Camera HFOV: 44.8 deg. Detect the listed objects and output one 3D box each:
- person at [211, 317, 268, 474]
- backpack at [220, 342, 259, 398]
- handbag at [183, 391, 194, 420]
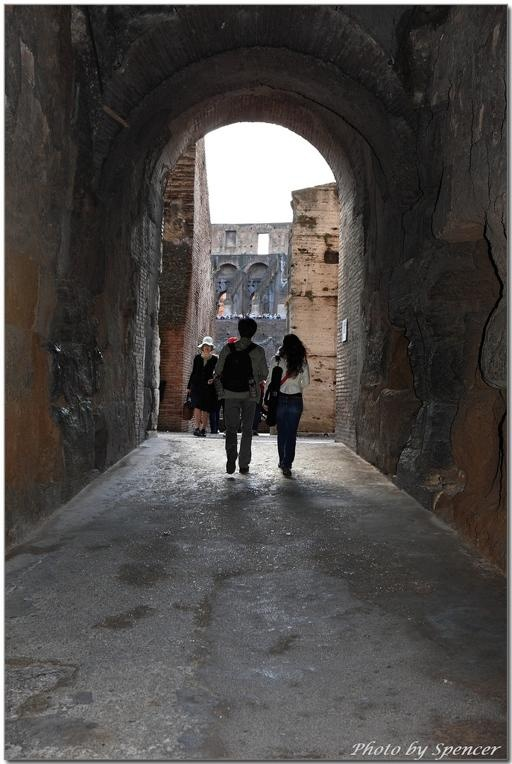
[{"bbox_3d":[-0.127,0.129,5.539,0.400,1.397,0.435,2,-9,4],"label":"person"},{"bbox_3d":[-0.152,-0.100,5.463,0.282,0.501,0.236,6,-15,4],"label":"backpack"},{"bbox_3d":[-0.921,0.335,8.409,0.122,0.396,0.586,1,4,-7],"label":"handbag"}]
